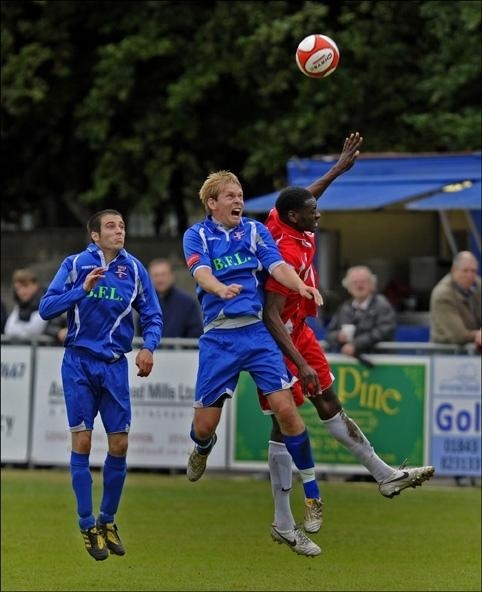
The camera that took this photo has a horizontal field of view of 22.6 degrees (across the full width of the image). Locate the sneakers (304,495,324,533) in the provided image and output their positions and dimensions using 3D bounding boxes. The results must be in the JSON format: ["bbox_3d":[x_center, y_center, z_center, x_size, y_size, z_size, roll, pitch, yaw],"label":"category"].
[{"bbox_3d":[0.447,1.379,7.560,0.088,0.256,0.127,-2,-34,3],"label":"sneakers"}]

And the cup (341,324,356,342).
[{"bbox_3d":[0.935,0.326,10.512,0.138,0.134,0.211,0,14,4],"label":"cup"}]

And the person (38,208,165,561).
[{"bbox_3d":[-0.847,0.584,7.769,0.780,2.236,0.627,-10,12,-38],"label":"person"}]

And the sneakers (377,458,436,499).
[{"bbox_3d":[1.041,1.183,7.579,0.201,0.218,0.304,-11,13,-41],"label":"sneakers"}]

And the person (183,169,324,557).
[{"bbox_3d":[-0.009,0.231,7.445,0.627,1.963,0.802,-9,12,-34],"label":"person"}]

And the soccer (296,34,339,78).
[{"bbox_3d":[0.490,-1.562,7.826,0.256,0.272,0.192,-2,9,2],"label":"soccer"}]

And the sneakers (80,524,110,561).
[{"bbox_3d":[-0.922,1.584,7.593,0.154,0.293,0.230,-4,10,-8],"label":"sneakers"}]
